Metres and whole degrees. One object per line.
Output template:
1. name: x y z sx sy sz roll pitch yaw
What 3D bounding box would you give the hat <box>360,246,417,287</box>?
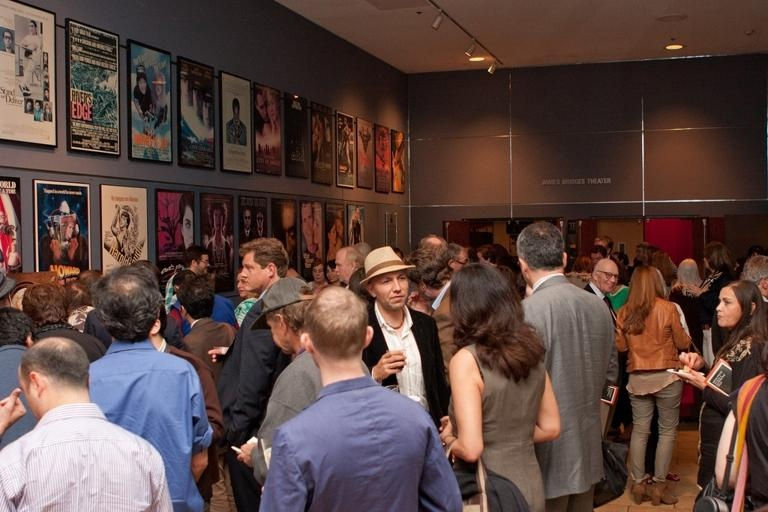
1. hat: -0.037 0.038 4.323 0.445 0.187 0.390 -16 6 25

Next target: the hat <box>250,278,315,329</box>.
1. hat: -0.688 0.239 3.791 0.415 0.230 0.320 -20 -1 32
